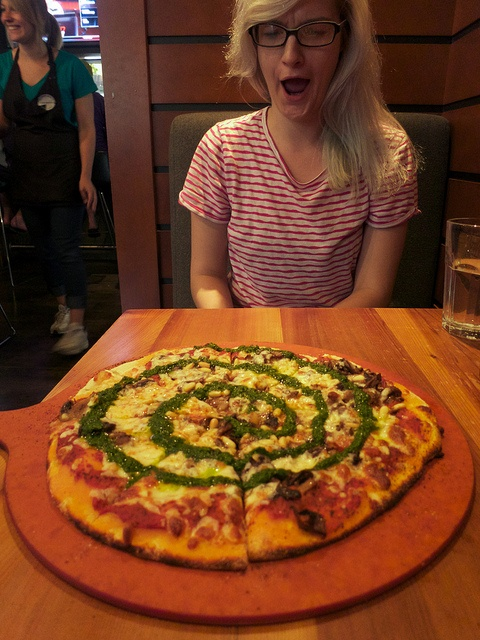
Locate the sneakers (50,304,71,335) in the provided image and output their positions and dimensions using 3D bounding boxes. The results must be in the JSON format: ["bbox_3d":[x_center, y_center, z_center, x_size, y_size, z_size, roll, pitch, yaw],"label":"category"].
[{"bbox_3d":[-1.112,-0.011,3.062,0.097,0.118,0.263,0,24,1],"label":"sneakers"}]

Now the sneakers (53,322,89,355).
[{"bbox_3d":[-0.937,0.109,2.716,0.110,0.107,0.239,2,9,5],"label":"sneakers"}]

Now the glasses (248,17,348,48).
[{"bbox_3d":[0.131,-0.644,1.113,0.183,0.050,0.070,4,23,10],"label":"glasses"}]

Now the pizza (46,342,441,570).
[{"bbox_3d":[0.009,0.140,0.679,0.482,0.040,0.496,-3,19,-10],"label":"pizza"}]
